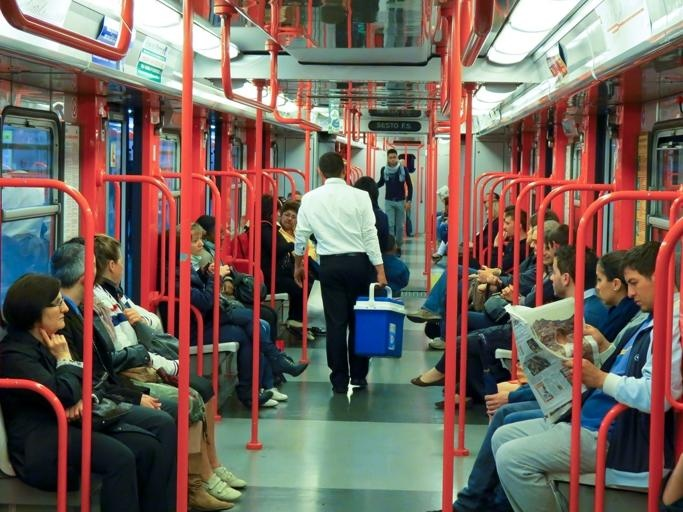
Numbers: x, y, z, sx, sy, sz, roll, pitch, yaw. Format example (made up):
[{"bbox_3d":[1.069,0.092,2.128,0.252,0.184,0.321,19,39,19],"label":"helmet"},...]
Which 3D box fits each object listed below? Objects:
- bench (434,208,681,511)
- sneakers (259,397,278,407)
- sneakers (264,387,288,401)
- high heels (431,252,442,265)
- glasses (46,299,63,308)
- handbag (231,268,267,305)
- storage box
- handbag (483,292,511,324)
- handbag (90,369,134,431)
[{"bbox_3d":[1.414,0.700,5.023,1.315,2.981,1.193,7,5,20],"label":"bench"},{"bbox_3d":[-0.690,1.406,7.112,0.177,0.095,0.067,-5,3,-5],"label":"sneakers"},{"bbox_3d":[-0.627,1.360,7.273,0.227,0.106,0.092,25,7,-3],"label":"sneakers"},{"bbox_3d":[2.033,0.035,15.775,0.212,0.203,0.568,-1,0,15],"label":"high heels"},{"bbox_3d":[-1.612,0.256,4.198,0.035,0.046,0.126,2,8,8],"label":"glasses"},{"bbox_3d":[-0.991,0.320,8.073,0.380,0.453,0.294,-1,9,-8],"label":"handbag"},{"bbox_3d":[0.369,0.655,7.520,0.521,1.038,0.756,-1,-4,15],"label":"storage box"},{"bbox_3d":[1.496,0.508,7.054,0.156,0.267,0.252,4,-35,42],"label":"handbag"},{"bbox_3d":[-1.382,0.857,4.447,0.205,0.234,0.308,1,-3,1],"label":"handbag"}]
